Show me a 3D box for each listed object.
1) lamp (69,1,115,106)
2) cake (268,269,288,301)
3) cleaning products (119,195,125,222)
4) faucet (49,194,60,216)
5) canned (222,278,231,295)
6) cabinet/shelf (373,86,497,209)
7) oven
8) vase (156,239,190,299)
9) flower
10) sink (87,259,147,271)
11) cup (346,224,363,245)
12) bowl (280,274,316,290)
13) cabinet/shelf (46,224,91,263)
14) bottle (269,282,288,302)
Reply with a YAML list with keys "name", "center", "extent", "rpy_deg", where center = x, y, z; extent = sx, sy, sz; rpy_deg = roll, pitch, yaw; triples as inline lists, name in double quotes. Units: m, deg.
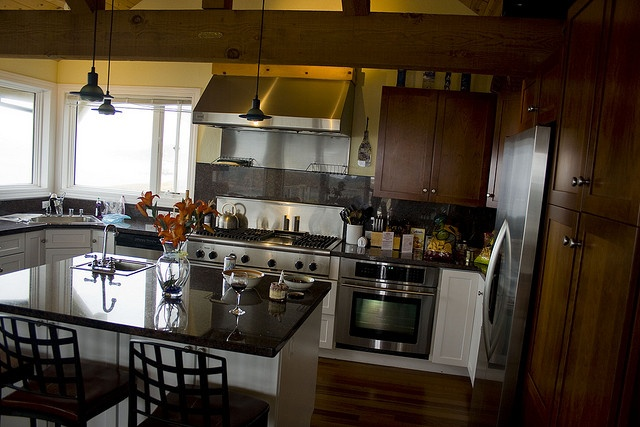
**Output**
- name: "lamp"
  center: [-1.956, -1.432, 4.176]
  extent: [0.321, 1.117, 1.644]
  rpy_deg: [-1, 11, -23]
- name: "cake"
  center: [-0.280, 0.526, 3.402]
  extent: [0.124, 0.199, 0.202]
  rpy_deg: [1, 1, 0]
- name: "cleaning products"
  center: [-2.429, -0.113, 5.933]
  extent: [0.065, 0.223, 0.139]
  rpy_deg: [-1, 11, -22]
- name: "faucet"
  center: [-3.225, -0.124, 5.885]
  extent: [0.126, 0.242, 0.323]
  rpy_deg: [-2, 11, -29]
- name: "canned"
  center: [-0.671, 0.519, 3.454]
  extent: [0.057, 0.212, 0.049]
  rpy_deg: [-5, 25, -17]
- name: "cabinet/shelf"
  center: [1.212, -0.696, 4.947]
  extent: [1.239, 1.135, 0.475]
  rpy_deg: [5, 3, 8]
- name: "oven"
  center: [0.756, 0.964, 5.127]
  extent: [1.019, 0.904, 0.747]
  rpy_deg: [4, -2, 22]
- name: "vase"
  center: [-1.009, 0.359, 3.305]
  extent: [0.209, 0.373, 0.253]
  rpy_deg: [0, 11, -17]
- name: "flower"
  center: [-1.272, 0.042, 4.398]
  extent: [0.493, 0.393, 0.489]
  rpy_deg: [19, -12, -26]
- name: "sink"
  center: [-1.580, 0.402, 3.832]
  extent: [0.225, 0.078, 0.192]
  rpy_deg: [2, 10, 7]
- name: "cup"
  center: [0.374, 0.215, 5.290]
  extent: [0.206, 0.218, 0.217]
  rpy_deg: [3, 10, -1]
- name: "bowl"
  center: [-0.167, 0.497, 3.560]
  extent: [0.157, 0.054, 0.154]
  rpy_deg: [0, 6, 0]
- name: "cabinet/shelf"
  center: [-2.782, 0.303, 5.414]
  extent: [0.425, 0.579, 0.396]
  rpy_deg: [0, 2, -17]
- name: "bottle"
  center: [-0.284, 0.532, 3.345]
  extent: [0.116, 0.104, 0.117]
  rpy_deg: [9, 8, 40]
